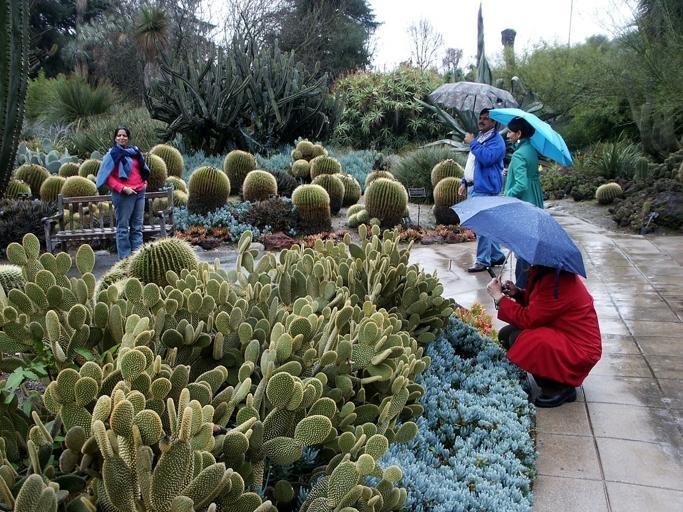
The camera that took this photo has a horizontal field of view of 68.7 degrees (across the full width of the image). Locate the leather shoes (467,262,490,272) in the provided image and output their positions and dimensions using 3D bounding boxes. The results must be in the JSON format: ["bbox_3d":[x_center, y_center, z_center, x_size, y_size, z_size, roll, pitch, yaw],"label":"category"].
[{"bbox_3d":[1.837,0.143,6.675,0.334,0.144,0.116,2,3,-17],"label":"leather shoes"}]

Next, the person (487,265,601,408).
[{"bbox_3d":[1.561,0.431,3.874,0.767,1.230,0.767,-6,6,-10],"label":"person"}]

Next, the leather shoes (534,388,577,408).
[{"bbox_3d":[1.532,1.015,3.654,0.314,0.164,0.130,5,0,-11],"label":"leather shoes"}]

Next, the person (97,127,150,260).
[{"bbox_3d":[-2.944,-0.844,6.824,0.467,1.788,0.674,2,8,16],"label":"person"}]

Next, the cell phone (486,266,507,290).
[{"bbox_3d":[1.585,0.222,5.125,0.089,0.277,0.072,-13,17,38],"label":"cell phone"}]
